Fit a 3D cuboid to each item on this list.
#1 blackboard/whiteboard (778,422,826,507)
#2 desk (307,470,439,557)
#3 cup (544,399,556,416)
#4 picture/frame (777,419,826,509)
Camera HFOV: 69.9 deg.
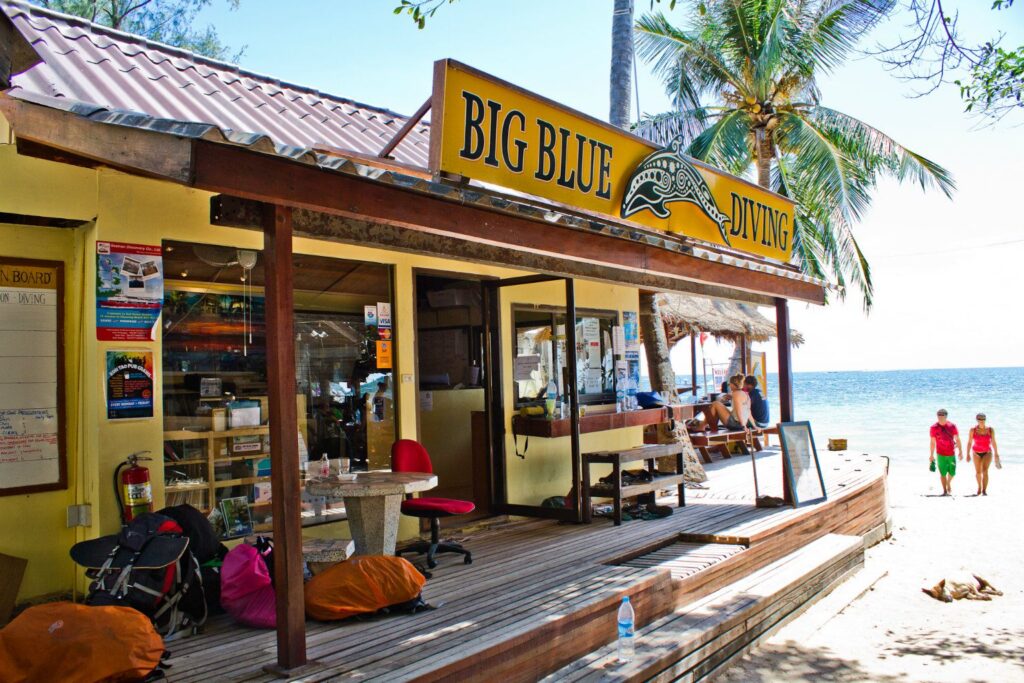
[{"bbox_3d":[4.056,1.728,10.226,0.621,1.177,0.635,6,9,35],"label":"blackboard/whiteboard"},{"bbox_3d":[-1.337,1.584,7.042,1.008,0.594,0.962,0,-2,2],"label":"desk"},{"bbox_3d":[0.507,0.873,9.662,0.135,0.224,0.213,-3,-6,2],"label":"cup"},{"bbox_3d":[4.066,1.684,10.239,0.591,1.197,0.617,6,9,36],"label":"picture/frame"}]
